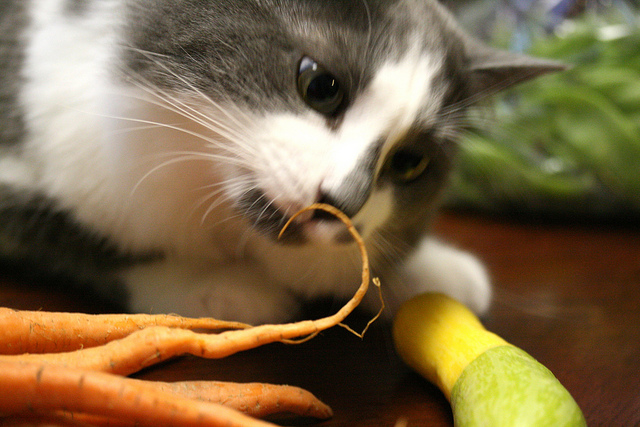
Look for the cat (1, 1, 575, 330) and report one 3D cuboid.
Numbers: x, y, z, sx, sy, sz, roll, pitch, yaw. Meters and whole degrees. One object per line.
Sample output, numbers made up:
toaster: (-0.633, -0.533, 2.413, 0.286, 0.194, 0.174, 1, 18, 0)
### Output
cat: (-0.168, -0.116, 1.410, 1.063, 0.662, 0.548, 6, 92, 38)
